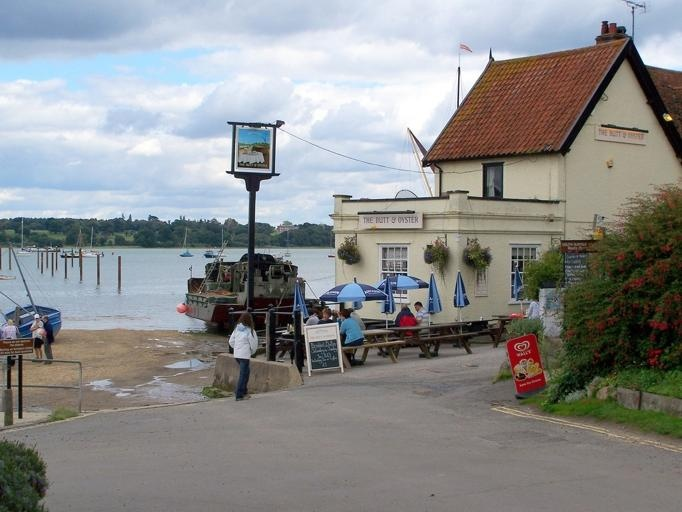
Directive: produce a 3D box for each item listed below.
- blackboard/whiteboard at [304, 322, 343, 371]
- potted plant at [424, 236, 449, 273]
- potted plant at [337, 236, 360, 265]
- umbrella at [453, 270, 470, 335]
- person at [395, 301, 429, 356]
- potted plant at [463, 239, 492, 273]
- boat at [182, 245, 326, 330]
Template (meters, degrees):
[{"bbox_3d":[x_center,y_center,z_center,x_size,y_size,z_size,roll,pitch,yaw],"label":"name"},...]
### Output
[{"bbox_3d":[-0.428,2.338,22.747,0.956,1.238,0.589,-2,1,-6],"label":"blackboard/whiteboard"},{"bbox_3d":[3.314,-0.037,31.551,0.682,1.025,0.750,2,4,20],"label":"potted plant"},{"bbox_3d":[0.360,-0.185,34.257,0.965,1.146,0.933,-1,3,-31],"label":"potted plant"},{"bbox_3d":[3.881,1.384,29.668,0.564,1.861,0.583,5,23,18],"label":"umbrella"},{"bbox_3d":[1.906,2.130,26.336,0.625,1.504,0.665,-1,2,-41],"label":"person"},{"bbox_3d":[4.749,0.009,31.503,0.978,1.148,0.978,3,-13,27],"label":"potted plant"},{"bbox_3d":[-5.527,1.549,43.688,3.540,2.989,6.227,0,1,-25],"label":"boat"}]
